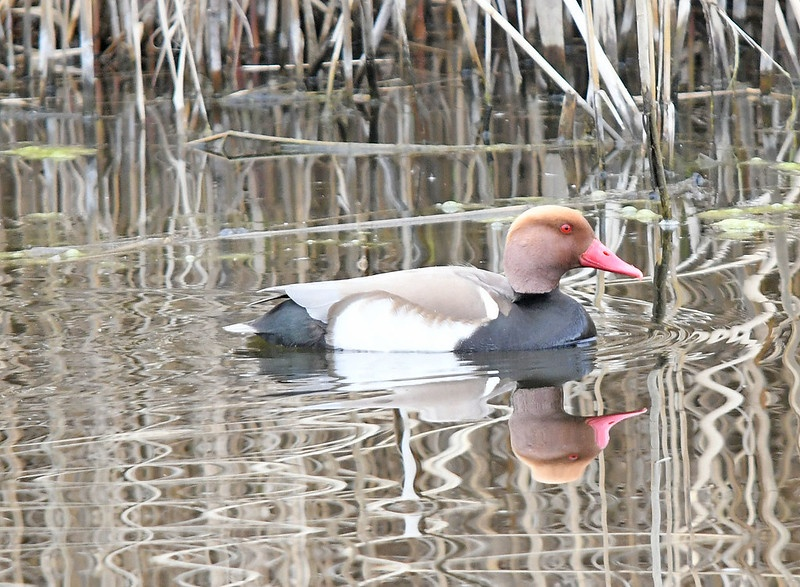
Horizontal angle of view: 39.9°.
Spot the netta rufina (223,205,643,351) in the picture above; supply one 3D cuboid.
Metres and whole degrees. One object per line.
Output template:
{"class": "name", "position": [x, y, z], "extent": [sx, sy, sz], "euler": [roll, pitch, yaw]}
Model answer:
{"class": "netta rufina", "position": [0.298, -0.133, 5.678], "extent": [2.652, 0.843, 0.719], "euler": [0, 24, 1]}
